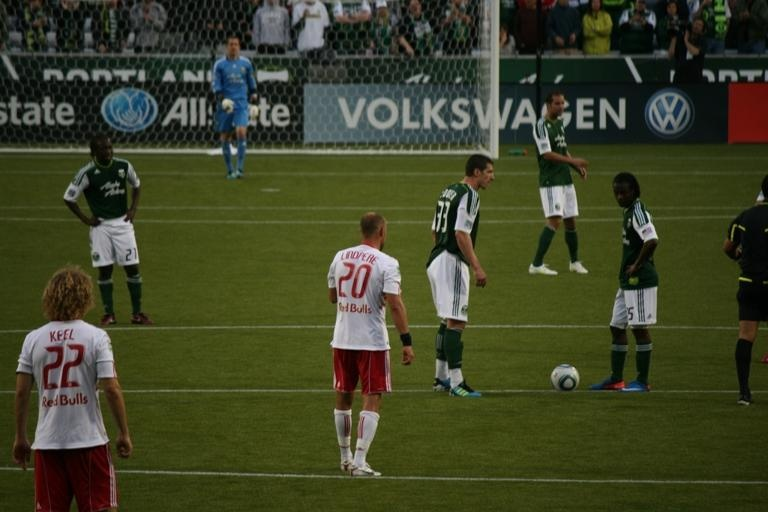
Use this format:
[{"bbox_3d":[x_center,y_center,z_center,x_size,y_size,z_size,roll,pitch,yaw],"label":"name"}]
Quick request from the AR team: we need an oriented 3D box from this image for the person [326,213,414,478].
[{"bbox_3d":[-0.233,1.208,20.225,0.997,3.523,0.662,-1,6,-4],"label":"person"}]

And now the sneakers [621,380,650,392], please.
[{"bbox_3d":[3.686,1.923,21.998,0.318,0.122,0.183,2,-5,-1],"label":"sneakers"}]

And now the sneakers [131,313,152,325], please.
[{"bbox_3d":[-3.943,1.017,24.179,0.308,0.187,0.160,1,6,12],"label":"sneakers"}]

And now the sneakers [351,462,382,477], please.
[{"bbox_3d":[-0.268,2.912,20.174,0.325,0.143,0.190,0,2,-8],"label":"sneakers"}]

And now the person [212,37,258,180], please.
[{"bbox_3d":[-3.247,-3.218,32.325,0.895,3.095,0.800,-2,6,-12],"label":"person"}]

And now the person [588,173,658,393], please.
[{"bbox_3d":[3.616,0.377,21.972,0.758,3.220,0.456,0,6,11],"label":"person"}]

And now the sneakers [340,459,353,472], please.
[{"bbox_3d":[-0.518,2.861,20.176,0.113,0.160,0.160,0,-1,2],"label":"sneakers"}]

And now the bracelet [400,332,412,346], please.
[{"bbox_3d":[0.298,1.134,20.349,0.188,0.180,0.150,-8,12,-41],"label":"bracelet"}]

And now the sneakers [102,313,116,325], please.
[{"bbox_3d":[-4.463,1.039,24.129,0.119,0.143,0.247,0,-3,17],"label":"sneakers"}]

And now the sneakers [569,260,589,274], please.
[{"bbox_3d":[3.466,0.197,26.536,0.168,0.150,0.325,-12,13,-29],"label":"sneakers"}]

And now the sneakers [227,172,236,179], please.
[{"bbox_3d":[-3.370,-1.779,32.711,0.169,0.174,0.108,-4,15,-8],"label":"sneakers"}]

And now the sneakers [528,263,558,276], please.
[{"bbox_3d":[2.813,0.235,26.461,0.534,0.233,0.198,-1,4,6],"label":"sneakers"}]

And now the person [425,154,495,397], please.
[{"bbox_3d":[1.085,0.287,21.902,0.911,3.513,0.744,-1,6,2],"label":"person"}]

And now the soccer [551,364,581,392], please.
[{"bbox_3d":[2.659,1.815,21.969,0.402,0.396,0.193,-1,6,0],"label":"soccer"}]

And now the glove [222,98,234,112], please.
[{"bbox_3d":[-3.362,-3.241,31.981,0.252,0.292,0.265,-2,6,-12],"label":"glove"}]

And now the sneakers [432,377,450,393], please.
[{"bbox_3d":[0.829,1.923,22.037,0.261,0.182,0.130,-2,5,-2],"label":"sneakers"}]

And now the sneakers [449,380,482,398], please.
[{"bbox_3d":[1.180,1.973,21.915,0.461,0.205,0.193,1,3,-1],"label":"sneakers"}]

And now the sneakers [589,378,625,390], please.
[{"bbox_3d":[3.304,1.914,22.117,0.495,0.218,0.186,2,-4,3],"label":"sneakers"}]
